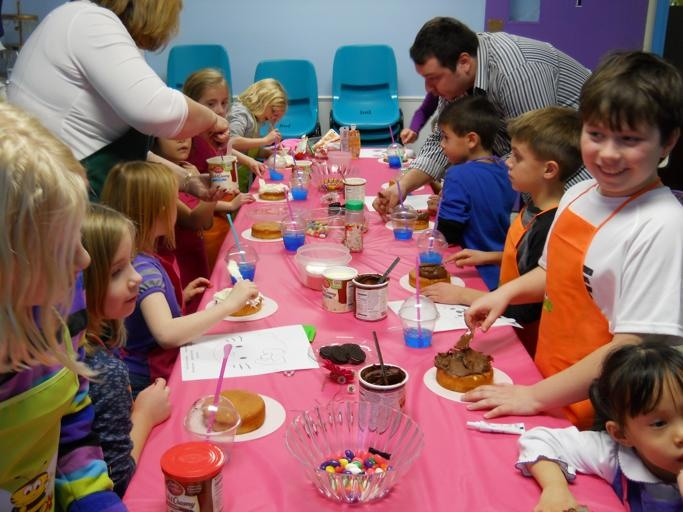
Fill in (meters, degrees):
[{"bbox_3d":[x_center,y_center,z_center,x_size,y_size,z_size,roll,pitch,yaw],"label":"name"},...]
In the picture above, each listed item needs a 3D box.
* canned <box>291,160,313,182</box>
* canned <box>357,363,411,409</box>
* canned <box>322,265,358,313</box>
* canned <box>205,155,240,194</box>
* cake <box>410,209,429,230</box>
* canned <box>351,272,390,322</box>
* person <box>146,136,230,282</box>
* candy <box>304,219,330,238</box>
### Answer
[{"bbox_3d":[-0.249,-0.572,3.531,0.163,0.203,0.174,0,12,-2],"label":"canned"},{"bbox_3d":[0.110,0.342,1.464,0.111,0.134,0.118,-6,15,-19],"label":"canned"},{"bbox_3d":[-0.002,0.127,2.042,0.130,0.155,0.139,0,18,1],"label":"canned"},{"bbox_3d":[-0.537,-0.376,2.598,0.164,0.204,0.178,-4,24,-2],"label":"canned"},{"bbox_3d":[0.400,-0.185,2.789,0.088,0.095,0.094,-1,10,-1],"label":"cake"},{"bbox_3d":[0.099,0.146,1.977,0.133,0.158,0.142,0,19,0],"label":"canned"},{"bbox_3d":[-0.745,-0.225,2.634,0.297,0.925,0.281,-14,42,-13],"label":"person"},{"bbox_3d":[-0.118,-0.153,2.745,0.086,0.034,0.096,1,27,0],"label":"candy"}]
